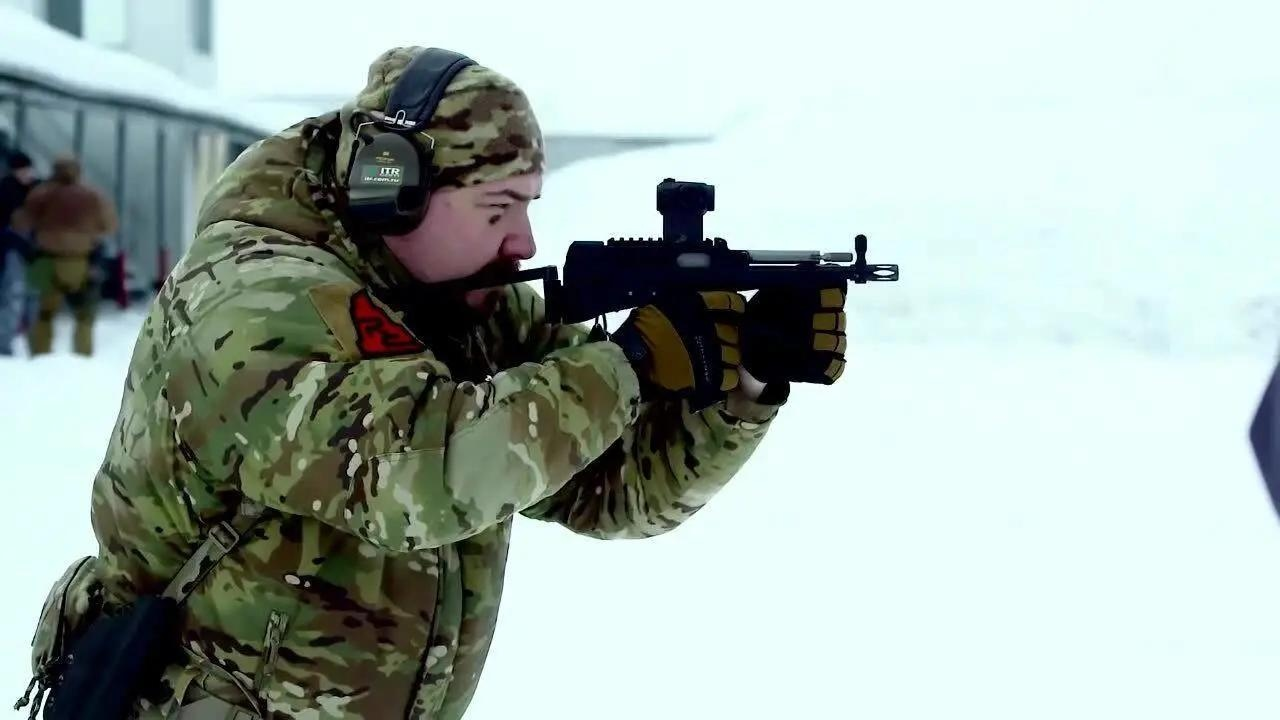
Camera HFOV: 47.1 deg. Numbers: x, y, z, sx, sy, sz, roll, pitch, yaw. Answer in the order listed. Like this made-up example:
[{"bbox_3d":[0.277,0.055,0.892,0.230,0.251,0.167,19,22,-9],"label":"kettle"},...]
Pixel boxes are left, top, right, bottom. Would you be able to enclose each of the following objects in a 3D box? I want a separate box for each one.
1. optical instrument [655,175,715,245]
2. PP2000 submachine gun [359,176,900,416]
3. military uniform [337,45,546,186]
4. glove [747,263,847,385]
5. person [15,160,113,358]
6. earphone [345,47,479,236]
[{"bbox_3d":[0.379,-1.060,10.548,0.378,0.442,0.363,1,9,13],"label":"optical instrument"},{"bbox_3d":[0.027,-0.629,10.665,4.086,1.660,0.502,1,31,23],"label":"PP2000 submachine gun"},{"bbox_3d":[-1.436,-1.539,10.571,1.463,1.175,1.129,7,9,-3],"label":"military uniform"},{"bbox_3d":[1.094,-0.203,10.078,0.689,0.715,0.309,4,4,1],"label":"glove"},{"bbox_3d":[-6.902,-1.217,17.562,0.982,2.545,0.810,-2,26,-30],"label":"person"},{"bbox_3d":[-1.536,-1.459,10.308,0.748,2.176,0.928,2,3,-5],"label":"earphone"}]
